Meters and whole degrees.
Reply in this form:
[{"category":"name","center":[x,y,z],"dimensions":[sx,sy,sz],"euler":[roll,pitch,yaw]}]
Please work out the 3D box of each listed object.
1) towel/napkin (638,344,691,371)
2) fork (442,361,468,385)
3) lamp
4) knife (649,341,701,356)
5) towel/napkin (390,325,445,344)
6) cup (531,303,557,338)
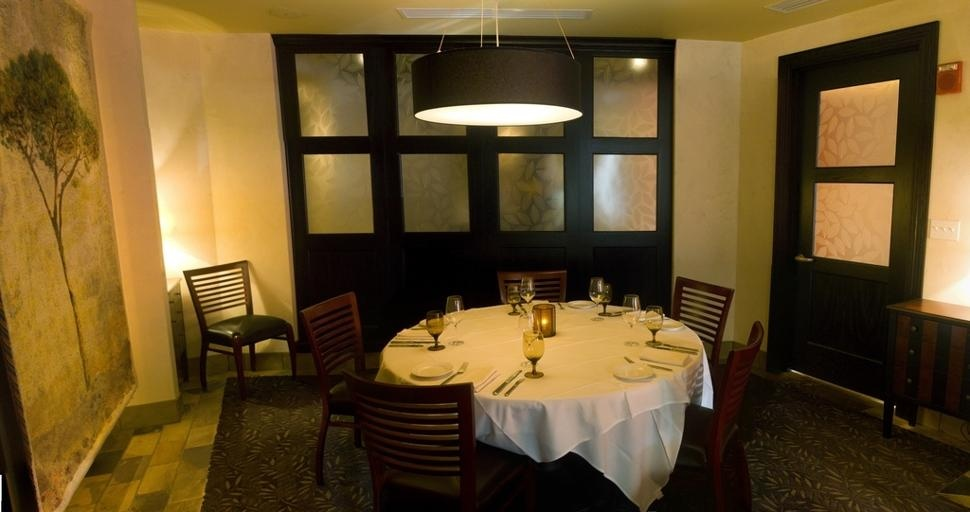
[{"category":"towel/napkin","center":[1.499,0.856,5.387],"dimensions":[0.259,0.055,0.203],"euler":[7,13,31]},{"category":"fork","center":[-0.209,0.954,5.354],"dimensions":[0.073,0.047,0.401],"euler":[27,32,23]},{"category":"lamp","center":[0.085,-1.411,5.705],"dimensions":[1.423,1.341,1.279],"euler":[-1,2,-3]},{"category":"knife","center":[1.640,0.797,5.506],"dimensions":[0.452,0.029,0.127],"euler":[5,28,25]},{"category":"towel/napkin","center":[-0.596,0.722,5.880],"dimensions":[0.359,0.076,0.336],"euler":[0,-2,3]},{"category":"cup","center":[0.538,0.575,5.755],"dimensions":[0.315,0.303,0.293],"euler":[-1,3,0]}]
